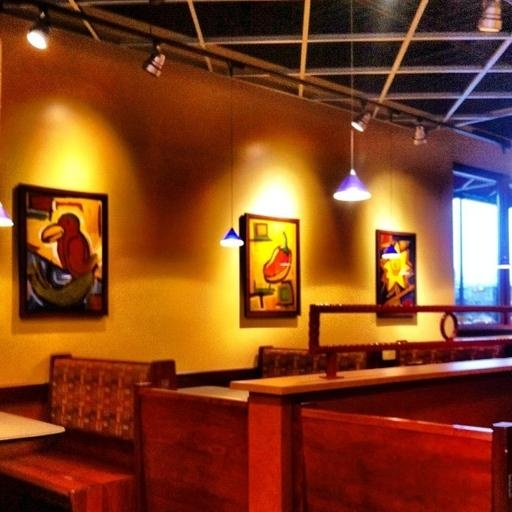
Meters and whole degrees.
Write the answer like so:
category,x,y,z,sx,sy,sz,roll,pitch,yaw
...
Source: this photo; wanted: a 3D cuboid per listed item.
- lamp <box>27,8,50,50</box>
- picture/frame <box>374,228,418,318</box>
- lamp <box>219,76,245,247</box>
category,x,y,z,sx,sy,sz,roll,pitch,yaw
lamp,-1.637,-1.751,3.885,0.143,0.311,0.205,1,-2,-24
picture/frame,1.825,0.169,6.980,0.170,1.010,0.935,-2,-3,43
lamp,-0.282,-1.016,5.140,0.215,1.852,0.633,0,-2,-3
